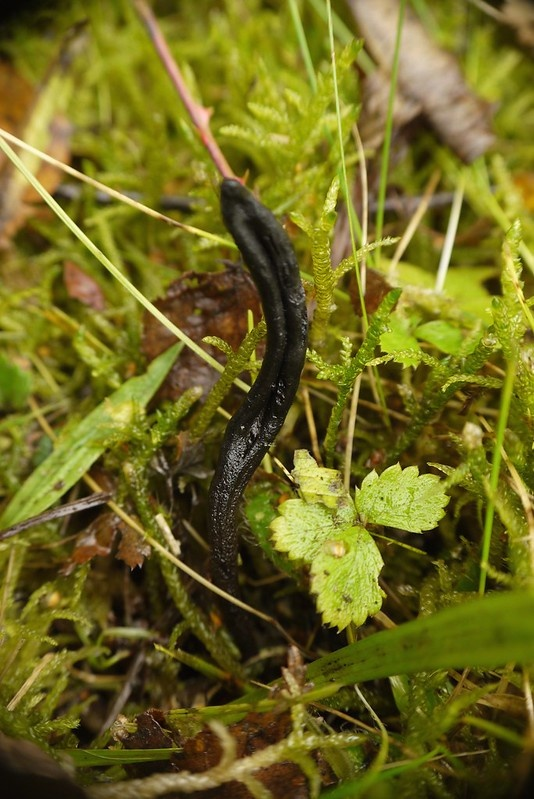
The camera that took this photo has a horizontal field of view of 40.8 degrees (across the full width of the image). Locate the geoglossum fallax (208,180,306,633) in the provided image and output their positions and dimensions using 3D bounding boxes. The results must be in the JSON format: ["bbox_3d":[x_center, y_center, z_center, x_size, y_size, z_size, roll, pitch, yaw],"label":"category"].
[{"bbox_3d":[-0.045,0.019,0.806,0.077,0.502,0.078,18,31,9],"label":"geoglossum fallax"}]

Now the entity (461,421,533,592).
[{"bbox_3d":[0.272,0.133,0.825,0.066,0.261,0.069,2,20,8],"label":"entity"}]
